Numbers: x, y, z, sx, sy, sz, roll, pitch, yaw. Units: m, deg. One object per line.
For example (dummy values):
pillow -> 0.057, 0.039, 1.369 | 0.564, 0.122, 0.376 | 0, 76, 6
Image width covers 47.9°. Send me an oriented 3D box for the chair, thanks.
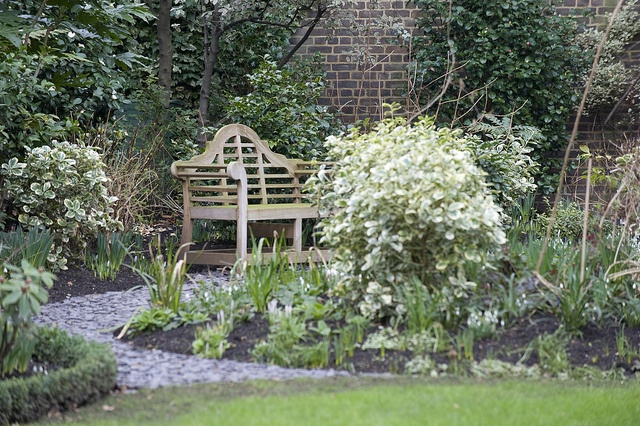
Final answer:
chair -> -0.801, -0.197, 8.073 | 1.691, 1.389, 0.814 | -1, -3, 6
